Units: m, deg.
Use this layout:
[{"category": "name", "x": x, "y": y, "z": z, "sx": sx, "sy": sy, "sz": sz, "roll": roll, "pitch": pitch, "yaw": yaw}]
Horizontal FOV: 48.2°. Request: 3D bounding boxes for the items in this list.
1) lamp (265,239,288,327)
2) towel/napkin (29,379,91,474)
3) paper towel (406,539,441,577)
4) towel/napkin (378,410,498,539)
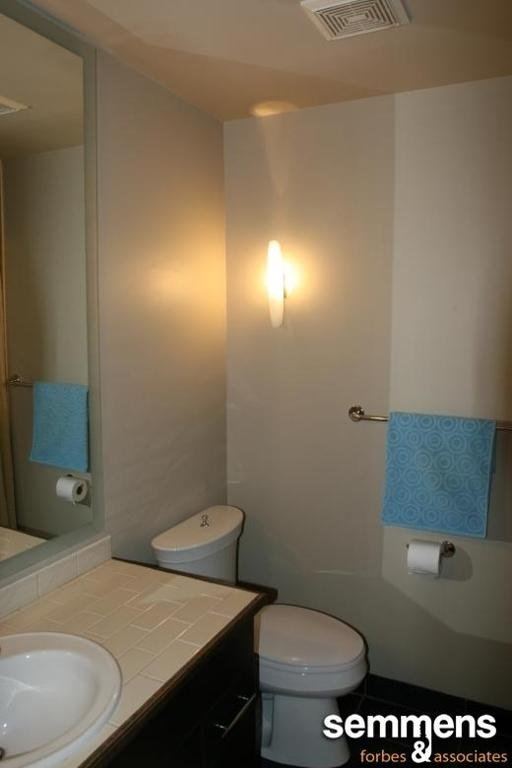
[{"category": "lamp", "x": 0.061, "y": -0.366, "z": 2.121, "sx": 0.100, "sy": 0.307, "sz": 0.095, "roll": 4, "pitch": 4, "yaw": 21}, {"category": "towel/napkin", "x": -0.492, "y": 0.117, "z": 1.447, "sx": 0.034, "sy": 0.246, "sz": 0.207, "roll": 3, "pitch": 4, "yaw": 18}, {"category": "paper towel", "x": 0.529, "y": 0.549, "z": 1.807, "sx": 0.120, "sy": 0.126, "sz": 0.093, "roll": 2, "pitch": -8, "yaw": 22}, {"category": "towel/napkin", "x": 0.591, "y": 0.284, "z": 1.825, "sx": 0.366, "sy": 0.457, "sz": 0.056, "roll": 4, "pitch": 5, "yaw": 31}]
